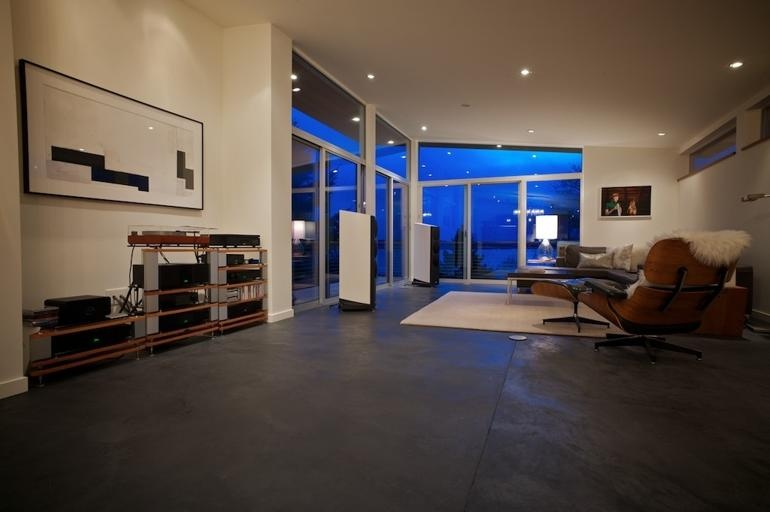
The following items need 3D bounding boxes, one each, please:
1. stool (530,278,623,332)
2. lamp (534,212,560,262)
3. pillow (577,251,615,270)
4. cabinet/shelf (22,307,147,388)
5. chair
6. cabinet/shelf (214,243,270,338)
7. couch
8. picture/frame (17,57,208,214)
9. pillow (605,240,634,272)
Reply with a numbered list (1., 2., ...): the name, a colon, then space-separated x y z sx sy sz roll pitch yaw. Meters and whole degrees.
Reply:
1. stool: 2.357 0.568 5.739 0.938 0.528 0.630 2 1 -29
2. lamp: 3.583 -0.419 10.433 0.471 1.048 0.808 5 14 17
3. pillow: 3.958 0.091 8.808 0.403 0.119 0.378 -3 37 14
4. cabinet/shelf: -2.774 0.735 4.125 0.477 0.334 0.753 0 1 20
5. chair: 2.798 0.398 4.902 1.220 1.228 1.453 -1 4 -15
6. cabinet/shelf: -1.717 0.411 5.502 0.412 1.232 1.094 0 -1 19
7. couch: 2.831 0.379 4.952 1.394 0.934 1.305 2 -3 -6
8. picture/frame: -2.896 -1.251 4.849 0.041 1.196 2.109 3 1 27
9. pillow: 4.459 0.017 8.858 0.278 0.476 0.571 39 -21 -21
